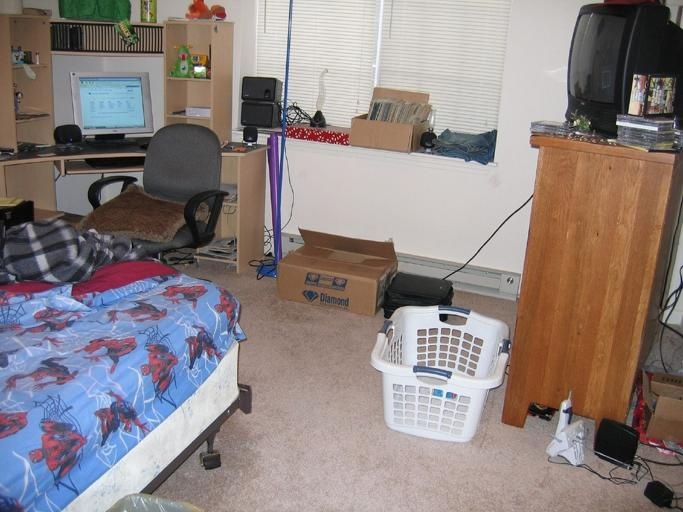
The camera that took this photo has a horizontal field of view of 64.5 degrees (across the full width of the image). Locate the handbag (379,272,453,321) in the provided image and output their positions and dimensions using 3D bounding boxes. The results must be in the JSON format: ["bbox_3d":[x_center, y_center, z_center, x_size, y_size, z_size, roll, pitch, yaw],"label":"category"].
[{"bbox_3d":[0.536,0.251,3.800,0.341,0.136,0.349,7,22,14],"label":"handbag"}]

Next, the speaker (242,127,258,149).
[{"bbox_3d":[-0.724,-0.942,4.303,0.115,0.169,0.049,4,12,11],"label":"speaker"}]

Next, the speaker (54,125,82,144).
[{"bbox_3d":[-2.005,-0.896,3.971,0.071,0.114,0.125,13,23,39],"label":"speaker"}]

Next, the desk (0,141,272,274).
[{"bbox_3d":[-1.222,-0.502,4.150,1.458,0.846,1.240,7,19,15],"label":"desk"}]

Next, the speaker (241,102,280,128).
[{"bbox_3d":[-0.647,-1.152,4.407,0.333,0.218,0.249,1,19,-12],"label":"speaker"}]

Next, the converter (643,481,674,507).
[{"bbox_3d":[1.423,1.063,2.407,0.118,0.085,0.091,16,21,27],"label":"converter"}]

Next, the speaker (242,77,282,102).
[{"bbox_3d":[-0.637,-1.349,4.380,0.329,0.197,0.200,1,19,-14],"label":"speaker"}]

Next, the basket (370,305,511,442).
[{"bbox_3d":[0.487,0.600,2.823,0.628,0.425,0.731,7,24,20],"label":"basket"}]

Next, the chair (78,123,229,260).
[{"bbox_3d":[-1.252,-0.455,3.630,0.768,1.092,0.623,14,17,18],"label":"chair"}]

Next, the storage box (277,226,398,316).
[{"bbox_3d":[-0.025,0.072,4.038,0.802,0.526,0.465,11,20,23],"label":"storage box"}]

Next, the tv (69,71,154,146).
[{"bbox_3d":[-1.782,-1.142,4.170,0.608,0.549,0.211,-11,23,-34],"label":"tv"}]

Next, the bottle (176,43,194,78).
[{"bbox_3d":[-1.262,-1.571,4.361,0.117,0.242,0.171,-4,21,-26],"label":"bottle"}]
